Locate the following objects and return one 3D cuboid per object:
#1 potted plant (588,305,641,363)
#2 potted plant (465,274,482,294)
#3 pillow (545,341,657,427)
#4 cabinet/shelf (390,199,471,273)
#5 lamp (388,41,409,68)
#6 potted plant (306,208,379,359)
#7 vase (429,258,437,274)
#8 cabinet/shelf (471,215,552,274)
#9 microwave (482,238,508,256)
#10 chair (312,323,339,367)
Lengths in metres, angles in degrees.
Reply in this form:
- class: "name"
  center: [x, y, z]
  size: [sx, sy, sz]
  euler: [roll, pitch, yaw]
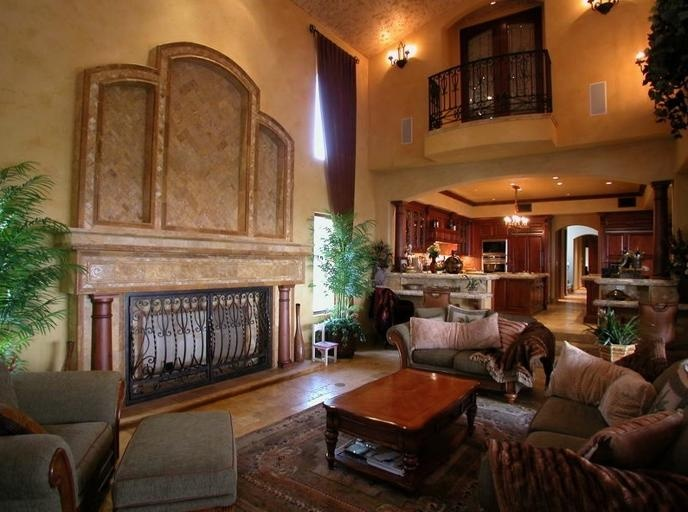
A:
- class: "potted plant"
  center: [3.116, 0.894, 5.757]
  size: [0.518, 0.489, 0.559]
  euler: [25, -17, 2]
- class: "potted plant"
  center: [2.167, 0.448, 8.231]
  size: [0.251, 0.255, 0.251]
  euler: [0, -7, 0]
- class: "pillow"
  center: [2.124, 1.070, 4.026]
  size: [0.237, 0.483, 0.642]
  euler: [36, -7, -19]
- class: "cabinet/shelf"
  center: [2.235, -0.518, 11.731]
  size: [0.878, 1.697, 5.788]
  euler: [3, 8, 20]
- class: "lamp"
  center: [0.968, -3.585, 8.661]
  size: [0.388, 0.452, 0.205]
  euler: [2, 8, 10]
- class: "potted plant"
  center: [-0.021, 0.459, 8.131]
  size: [0.883, 2.323, 1.636]
  euler: [2, 8, 10]
- class: "vase"
  center: [1.756, 0.174, 9.617]
  size: [0.118, 0.268, 0.306]
  euler: [1, 8, 3]
- class: "cabinet/shelf"
  center: [4.787, -0.363, 13.709]
  size: [1.676, 1.655, 0.655]
  euler: [0, -1, 29]
- class: "microwave"
  center: [4.339, -0.279, 14.185]
  size: [0.402, 0.484, 0.744]
  euler: [2, -2, -42]
- class: "chair"
  center: [-0.283, 1.337, 7.331]
  size: [0.401, 0.530, 0.403]
  euler: [3, 3, 4]
